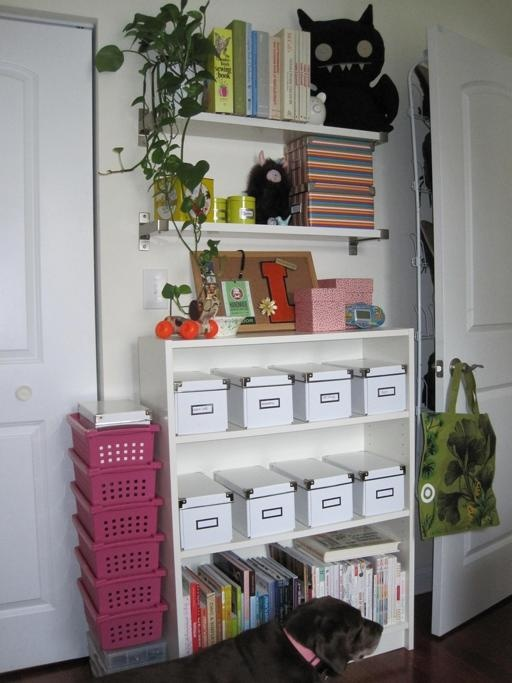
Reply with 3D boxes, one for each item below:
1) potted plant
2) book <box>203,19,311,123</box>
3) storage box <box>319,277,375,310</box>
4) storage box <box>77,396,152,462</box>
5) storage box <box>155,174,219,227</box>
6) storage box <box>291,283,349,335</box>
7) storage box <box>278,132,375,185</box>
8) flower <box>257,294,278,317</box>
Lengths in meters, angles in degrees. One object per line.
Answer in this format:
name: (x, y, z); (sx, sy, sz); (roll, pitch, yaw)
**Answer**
potted plant: (-0.289, -0.567, 1.824); (0.382, 1.006, 0.441); (-4, 6, -5)
book: (-0.036, -0.774, 2.064); (0.302, 0.362, 0.389); (-1, 4, -26)
storage box: (0.334, -0.168, 2.120); (0.126, 0.072, 0.121); (-2, 7, -16)
storage box: (-0.415, 0.239, 1.746); (0.153, 0.095, 0.202); (-4, 12, -30)
storage box: (-0.210, -0.409, 1.858); (0.167, 0.120, 0.163); (-3, 6, -36)
storage box: (0.206, -0.099, 2.009); (0.172, 0.140, 0.214); (-2, 6, 7)
storage box: (0.255, -0.611, 2.095); (0.265, 0.130, 0.185); (-4, 9, -28)
flower: (0.040, -0.111, 2.046); (0.031, 0.066, 0.067); (1, 7, 35)
